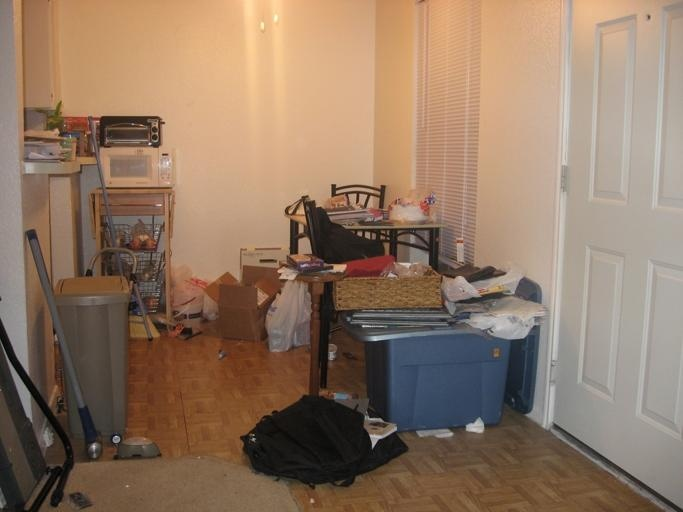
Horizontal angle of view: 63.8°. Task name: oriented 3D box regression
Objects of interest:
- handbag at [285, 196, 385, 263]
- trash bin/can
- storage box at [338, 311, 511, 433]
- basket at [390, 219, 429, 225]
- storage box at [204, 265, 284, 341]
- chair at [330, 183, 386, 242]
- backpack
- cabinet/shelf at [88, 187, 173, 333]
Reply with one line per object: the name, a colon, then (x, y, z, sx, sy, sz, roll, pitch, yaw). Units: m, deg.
handbag: (-0.044, -0.288, 4.574, 0.582, 0.873, 0.538, -2, 13, -8)
trash bin/can: (-1.379, 0.583, 3.132, 0.372, 0.846, 0.399, -6, 14, -25)
storage box: (0.490, 0.658, 3.318, 0.862, 0.544, 0.581, -2, 6, -12)
basket: (0.568, -0.291, 4.579, 0.325, 0.050, 0.184, 2, 12, 7)
storage box: (-0.858, 0.398, 4.800, 0.595, 0.455, 0.652, 3, 5, 20)
chair: (0.222, -0.454, 5.880, 0.589, 0.875, 0.590, 1, 4, 9)
backpack: (-0.109, 0.968, 2.823, 0.490, 0.146, 0.480, -3, 12, -21)
cabinet/shelf: (-1.911, -0.111, 5.128, 0.748, 1.141, 0.867, -1, 18, -13)
